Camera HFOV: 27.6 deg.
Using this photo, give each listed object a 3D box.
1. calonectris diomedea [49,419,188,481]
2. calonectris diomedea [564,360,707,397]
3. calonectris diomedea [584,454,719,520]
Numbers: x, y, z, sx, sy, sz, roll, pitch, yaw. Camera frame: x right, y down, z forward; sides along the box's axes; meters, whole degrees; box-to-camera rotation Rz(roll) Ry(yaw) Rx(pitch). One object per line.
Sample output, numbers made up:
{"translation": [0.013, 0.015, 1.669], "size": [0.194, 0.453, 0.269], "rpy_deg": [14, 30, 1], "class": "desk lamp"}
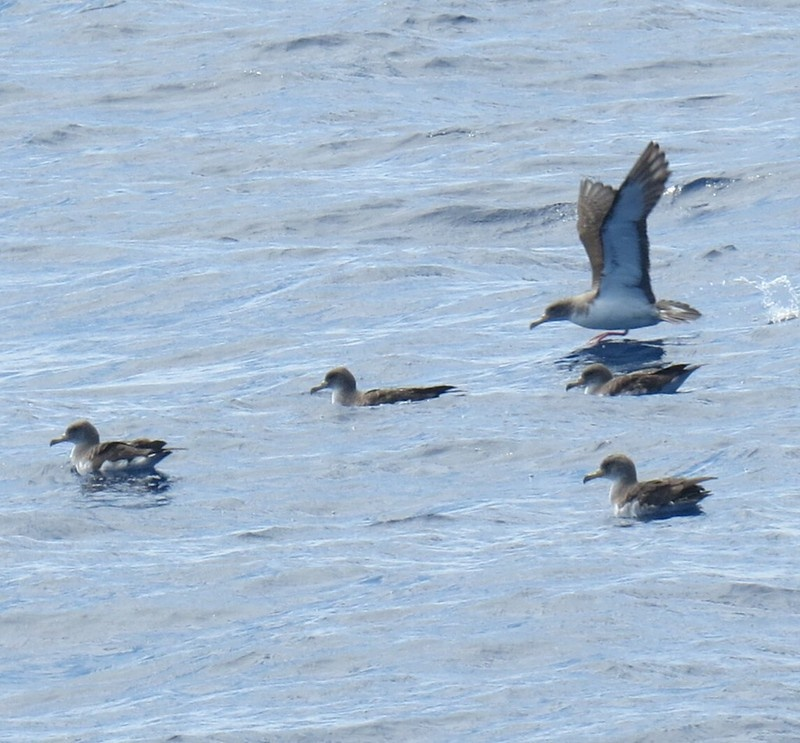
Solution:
{"translation": [-3.446, 1.007, 19.817], "size": [2.079, 0.734, 0.645], "rpy_deg": [-7, -3, 39], "class": "calonectris diomedea"}
{"translation": [2.993, 0.130, 21.103], "size": [1.486, 0.368, 0.550], "rpy_deg": [-6, -5, 20], "class": "calonectris diomedea"}
{"translation": [2.499, 1.274, 17.223], "size": [1.622, 0.618, 0.448], "rpy_deg": [1, 12, -21], "class": "calonectris diomedea"}
